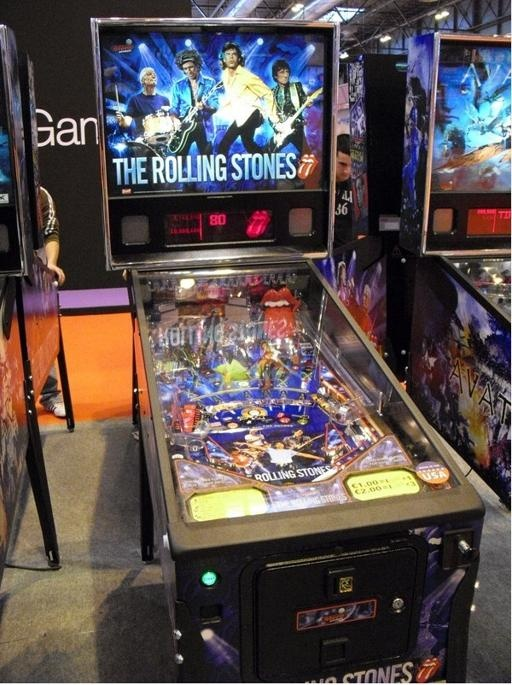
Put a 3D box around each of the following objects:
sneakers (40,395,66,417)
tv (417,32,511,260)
[{"bbox_3d":[-1.278,0.402,3.305,0.087,0.114,0.248,-19,27,-41],"label":"sneakers"},{"bbox_3d":[0.790,-0.696,1.906,0.442,0.739,0.137,-9,18,-15],"label":"tv"}]
